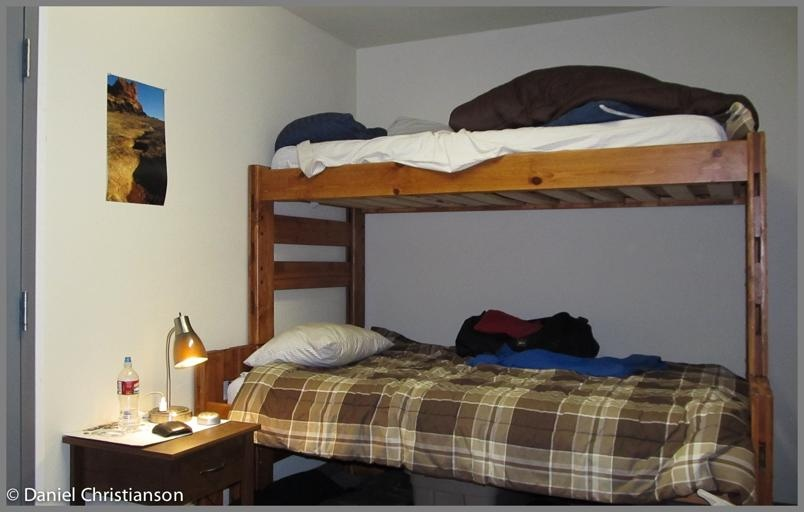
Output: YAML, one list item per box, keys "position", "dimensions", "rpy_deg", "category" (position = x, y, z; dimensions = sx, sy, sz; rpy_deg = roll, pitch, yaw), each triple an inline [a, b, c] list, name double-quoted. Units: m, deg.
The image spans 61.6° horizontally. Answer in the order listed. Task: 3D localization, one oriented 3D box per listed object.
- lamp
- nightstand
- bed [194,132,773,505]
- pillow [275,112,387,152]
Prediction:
- position: [-1.269, 0.618, 3.802]
  dimensions: [0.302, 0.572, 0.488]
  rpy_deg: [-1, -1, -18]
  category: "lamp"
- position: [-1.264, 1.077, 3.576]
  dimensions: [0.598, 0.380, 0.588]
  rpy_deg: [-1, -2, 28]
  category: "nightstand"
- position: [0.516, 0.371, 4.076]
  dimensions: [2.658, 1.589, 1.039]
  rpy_deg: [-2, -10, 25]
  category: "bed"
- position: [-0.512, -0.822, 4.434]
  dimensions: [0.491, 0.126, 0.351]
  rpy_deg: [-4, 13, 17]
  category: "pillow"
